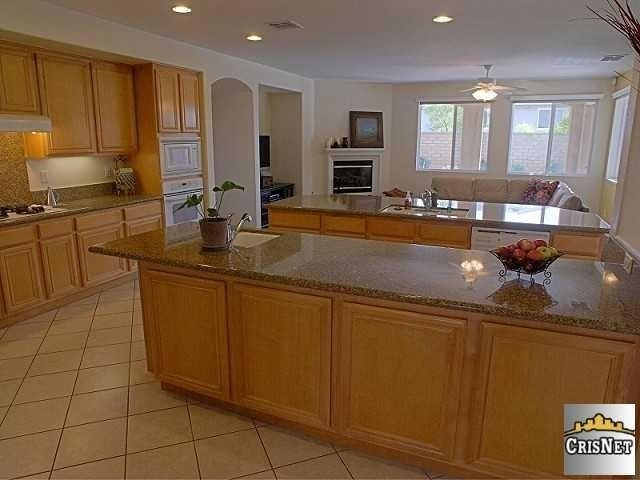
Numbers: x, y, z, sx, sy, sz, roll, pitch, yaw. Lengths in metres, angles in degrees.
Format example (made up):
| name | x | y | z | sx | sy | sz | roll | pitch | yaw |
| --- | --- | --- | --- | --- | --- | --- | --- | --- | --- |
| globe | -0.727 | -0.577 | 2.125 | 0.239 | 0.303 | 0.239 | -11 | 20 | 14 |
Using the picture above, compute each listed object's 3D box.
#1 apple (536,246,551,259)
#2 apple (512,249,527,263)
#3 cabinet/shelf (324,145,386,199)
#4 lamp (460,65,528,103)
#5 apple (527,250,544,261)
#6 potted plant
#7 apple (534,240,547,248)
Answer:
| name | x | y | z | sx | sy | sz | roll | pitch | yaw |
| --- | --- | --- | --- | --- | --- | --- | --- | --- | --- |
| apple | 1.299 | 0.074 | 2.591 | 0.069 | 0.061 | 0.061 | 4 | -11 | 11 |
| apple | 1.166 | 0.092 | 2.642 | 0.082 | 0.088 | 0.080 | -1 | 6 | -17 |
| cabinet/shelf | 0.673 | -1.424 | 9.099 | 1.666 | 1.251 | 0.509 | -4 | 13 | -21 |
| lamp | 2.402 | -2.280 | 6.435 | 0.809 | 0.442 | 0.821 | 9 | 26 | 22 |
| apple | 1.248 | 0.089 | 2.574 | 0.067 | 0.058 | 0.062 | 0 | -28 | 12 |
| potted plant | -0.880 | -0.159 | 3.303 | 0.590 | 0.414 | 0.497 | -12 | 6 | -24 |
| apple | 1.332 | 0.021 | 2.687 | 0.056 | 0.049 | 0.055 | -1 | 8 | -14 |
